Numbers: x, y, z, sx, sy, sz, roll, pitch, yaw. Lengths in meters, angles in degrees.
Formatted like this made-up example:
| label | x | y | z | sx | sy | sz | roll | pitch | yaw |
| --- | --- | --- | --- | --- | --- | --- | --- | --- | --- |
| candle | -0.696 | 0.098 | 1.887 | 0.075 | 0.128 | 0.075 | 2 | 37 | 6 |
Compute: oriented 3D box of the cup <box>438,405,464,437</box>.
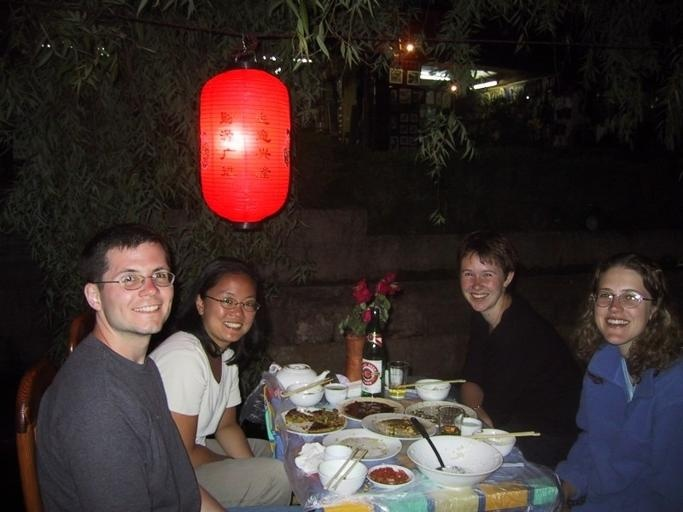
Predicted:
| label | x | y | z | sx | sy | sz | roll | pitch | yaw |
| --- | --- | --- | --- | --- | --- | --- | --- | --- | --- |
| cup | 0.539 | 0.817 | 2.947 | 0.125 | 0.134 | 0.125 | 0 | -1 | 0 |

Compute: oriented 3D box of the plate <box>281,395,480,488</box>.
| label | x | y | z | sx | sy | sz | roll | pitch | yaw |
| --- | --- | --- | --- | --- | --- | --- | --- | --- | --- |
| plate | 0.222 | 0.826 | 3.116 | 0.807 | 0.320 | 0.879 | 3 | 4 | 14 |

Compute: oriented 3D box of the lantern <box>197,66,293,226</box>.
| label | x | y | z | sx | sy | sz | roll | pitch | yaw |
| --- | --- | --- | --- | --- | --- | --- | --- | --- | --- |
| lantern | -0.562 | -0.646 | 3.474 | 0.475 | 0.910 | 0.418 | -4 | 9 | -19 |

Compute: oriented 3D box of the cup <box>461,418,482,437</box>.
| label | x | y | z | sx | sy | sz | roll | pitch | yaw |
| --- | --- | --- | --- | --- | --- | --- | --- | --- | --- |
| cup | 0.657 | 0.868 | 3.014 | 0.082 | 0.060 | 0.071 | 0 | 10 | 9 |

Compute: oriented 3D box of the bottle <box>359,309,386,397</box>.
| label | x | y | z | sx | sy | sz | roll | pitch | yaw |
| --- | --- | --- | --- | --- | --- | --- | --- | --- | --- |
| bottle | 0.179 | 0.559 | 3.453 | 0.146 | 0.477 | 0.152 | 0 | -1 | 0 |

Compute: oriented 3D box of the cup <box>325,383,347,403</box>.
| label | x | y | z | sx | sy | sz | roll | pitch | yaw |
| --- | --- | --- | --- | --- | --- | --- | --- | --- | --- |
| cup | -0.026 | 0.782 | 3.401 | 0.100 | 0.066 | 0.099 | -2 | 4 | 0 |

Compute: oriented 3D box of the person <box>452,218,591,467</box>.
| label | x | y | z | sx | sy | sz | roll | pitch | yaw |
| --- | --- | --- | --- | --- | --- | --- | --- | --- | --- |
| person | 1.127 | 0.533 | 3.652 | 0.571 | 1.590 | 0.710 | -1 | 3 | -19 |

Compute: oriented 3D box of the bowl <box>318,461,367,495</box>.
| label | x | y | z | sx | sy | sz | roll | pitch | yaw |
| --- | --- | --- | --- | --- | --- | --- | --- | --- | --- |
| bowl | 0.006 | 0.976 | 2.628 | 0.209 | 0.098 | 0.152 | 0 | 5 | 5 |

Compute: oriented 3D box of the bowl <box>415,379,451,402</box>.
| label | x | y | z | sx | sy | sz | roll | pitch | yaw |
| --- | --- | --- | --- | --- | --- | --- | --- | --- | --- |
| bowl | 0.527 | 0.765 | 3.414 | 0.133 | 0.059 | 0.131 | 1 | -3 | 0 |

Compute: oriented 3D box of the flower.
| label | x | y | z | sx | sy | sz | roll | pitch | yaw |
| --- | --- | --- | --- | --- | --- | --- | --- | --- | --- |
| flower | 0.251 | 0.328 | 3.688 | 0.341 | 0.479 | 0.414 | 0 | 7 | -23 |

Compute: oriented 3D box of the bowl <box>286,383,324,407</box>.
| label | x | y | z | sx | sy | sz | roll | pitch | yaw |
| --- | --- | --- | --- | --- | --- | --- | --- | --- | --- |
| bowl | -0.207 | 0.778 | 3.345 | 0.138 | 0.078 | 0.137 | -2 | 2 | 0 |
